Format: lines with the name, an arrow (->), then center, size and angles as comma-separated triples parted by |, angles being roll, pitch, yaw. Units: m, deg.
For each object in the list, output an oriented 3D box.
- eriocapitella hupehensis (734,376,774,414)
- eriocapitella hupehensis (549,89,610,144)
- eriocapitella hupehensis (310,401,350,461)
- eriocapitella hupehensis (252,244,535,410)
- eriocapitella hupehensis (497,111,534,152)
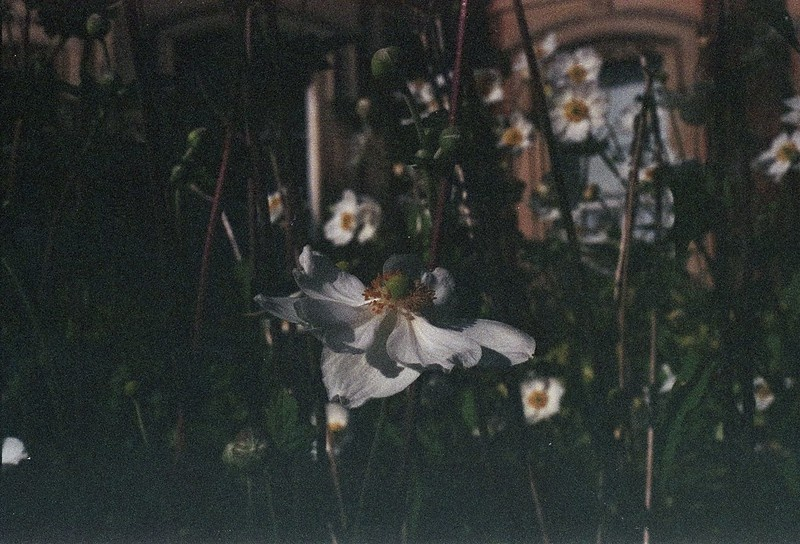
eriocapitella hupehensis -> 0.461, 0.156, 1.923 | 0.033, 0.052, 0.011 | 8, 5, 4
eriocapitella hupehensis -> 0.228, -0.196, 1.920 | 0.066, 0.062, 0.011 | -3, -6, 7
eriocapitella hupehensis -> -0.090, 0.201, 1.943 | 0.050, 0.069, 0.015 | -1, -6, -6
eriocapitella hupehensis -> -0.007, 0.062, 1.945 | 0.323, 0.147, 0.373 | 7, 8, 16
eriocapitella hupehensis -> 0.149, -0.178, 1.923 | 0.044, 0.046, 0.007 | -2, -6, 1
